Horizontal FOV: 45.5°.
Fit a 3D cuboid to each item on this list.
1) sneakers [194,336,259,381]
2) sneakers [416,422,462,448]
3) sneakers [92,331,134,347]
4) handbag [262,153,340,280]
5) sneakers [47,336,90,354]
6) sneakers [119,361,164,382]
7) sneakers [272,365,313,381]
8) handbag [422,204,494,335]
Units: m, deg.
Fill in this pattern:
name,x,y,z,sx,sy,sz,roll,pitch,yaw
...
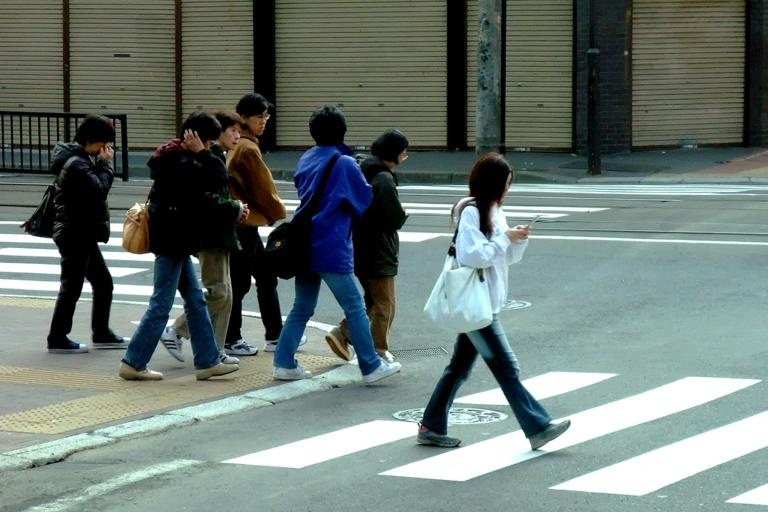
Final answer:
name,x,y,z,sx,sy,sz,roll,pitch,yaw
sneakers,-1.449,1.005,8.302,0.594,0.193,0.164,-8,11,-6
sneakers,0.396,1.363,6.884,0.427,0.145,0.125,1,6,4
sneakers,-2.737,0.847,9.206,0.463,0.145,0.146,-1,5,-10
handbag,-0.722,-0.342,8.033,0.738,1.076,0.246,-3,9,-4
sneakers,-3.095,0.892,8.929,0.462,0.144,0.147,1,2,-9
sneakers,-2.172,1.049,8.251,0.466,0.145,0.146,3,3,-10
sneakers,-0.824,1.047,8.232,0.398,0.135,0.117,-3,18,-17
handbag,0.560,0.199,6.686,0.478,0.733,0.276,3,11,35
